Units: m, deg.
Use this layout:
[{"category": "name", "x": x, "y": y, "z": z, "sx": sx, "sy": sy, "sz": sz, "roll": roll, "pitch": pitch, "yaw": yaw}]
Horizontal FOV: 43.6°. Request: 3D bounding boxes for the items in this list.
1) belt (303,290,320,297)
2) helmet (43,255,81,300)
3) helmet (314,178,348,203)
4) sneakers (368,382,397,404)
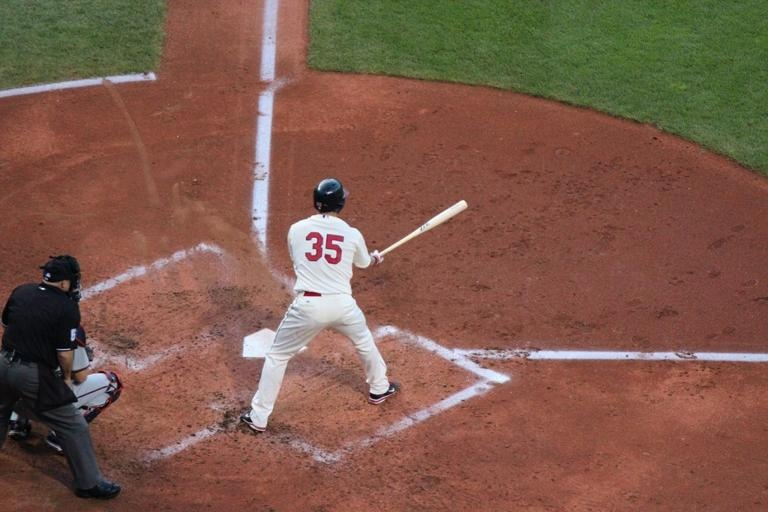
[{"category": "belt", "x": -0.987, "y": 0.532, "z": 13.220, "sx": 0.145, "sy": 0.031, "sz": 0.080, "roll": 3, "pitch": 80, "yaw": 3}, {"category": "helmet", "x": -4.176, "y": 0.310, "z": 12.478, "sx": 0.552, "sy": 0.492, "sz": 0.402, "roll": -21, "pitch": 47, "yaw": -38}, {"category": "helmet", "x": -0.767, "y": -0.881, "z": 13.385, "sx": 0.473, "sy": 0.321, "sz": 0.388, "roll": 12, "pitch": 39, "yaw": 15}, {"category": "sneakers", "x": 0.039, "y": 2.026, "z": 14.046, "sx": 0.520, "sy": 0.203, "sz": 0.191, "roll": -29, "pitch": 51, "yaw": -22}]
